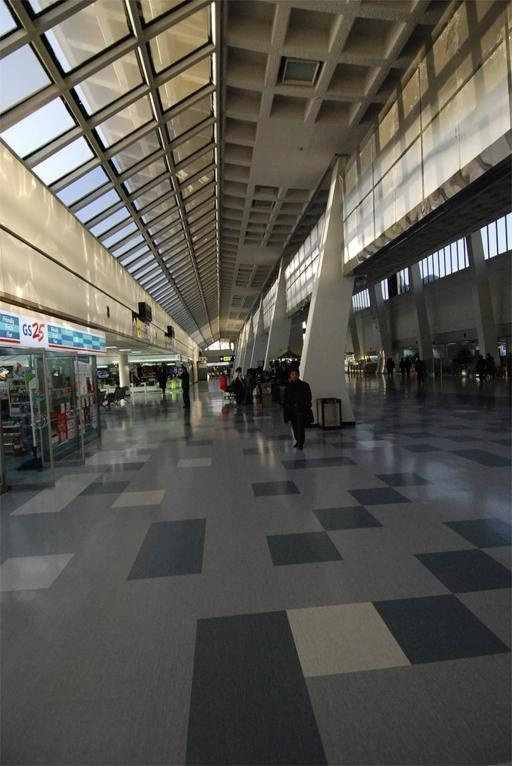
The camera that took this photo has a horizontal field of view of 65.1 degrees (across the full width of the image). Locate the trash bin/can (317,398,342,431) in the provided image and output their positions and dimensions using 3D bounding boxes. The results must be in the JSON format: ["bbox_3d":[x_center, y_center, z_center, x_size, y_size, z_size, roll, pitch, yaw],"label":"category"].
[{"bbox_3d":[1.910,0.755,10.070,0.884,0.558,0.451,-4,2,-43],"label":"trash bin/can"}]

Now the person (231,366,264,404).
[{"bbox_3d":[-0.517,0.189,18.142,1.074,1.332,1.311,-2,1,25],"label":"person"}]

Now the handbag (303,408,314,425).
[{"bbox_3d":[1.012,0.636,7.682,0.128,0.241,0.259,-2,1,17],"label":"handbag"}]

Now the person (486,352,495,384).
[{"bbox_3d":[14.425,-1.000,24.609,0.458,1.648,1.958,-1,1,30],"label":"person"}]

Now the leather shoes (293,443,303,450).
[{"bbox_3d":[0.802,1.192,7.691,0.174,0.106,0.256,-3,1,6],"label":"leather shoes"}]

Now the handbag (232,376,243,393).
[{"bbox_3d":[-0.809,0.091,17.977,0.367,0.608,0.820,-2,1,-7],"label":"handbag"}]

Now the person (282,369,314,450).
[{"bbox_3d":[0.854,0.482,8.163,0.536,1.177,1.259,-2,1,7],"label":"person"}]
